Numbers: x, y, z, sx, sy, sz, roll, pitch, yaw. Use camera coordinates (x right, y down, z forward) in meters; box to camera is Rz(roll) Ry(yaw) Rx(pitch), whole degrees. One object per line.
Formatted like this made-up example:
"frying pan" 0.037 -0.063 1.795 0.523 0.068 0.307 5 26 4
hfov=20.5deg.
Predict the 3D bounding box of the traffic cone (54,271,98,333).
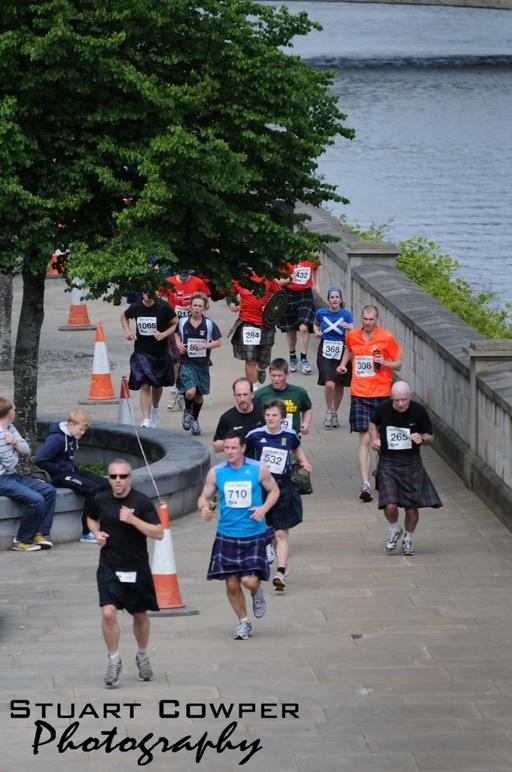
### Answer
"traffic cone" -3.191 -1.423 24.878 0.794 0.821 0.796 12 6 -9

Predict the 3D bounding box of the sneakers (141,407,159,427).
"sneakers" -1.220 0.400 16.347 0.121 0.216 0.334 7 10 -11

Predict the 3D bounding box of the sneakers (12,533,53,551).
"sneakers" -1.799 1.274 11.427 0.349 0.142 0.121 -2 1 1

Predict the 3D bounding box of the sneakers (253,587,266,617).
"sneakers" 0.037 1.460 9.462 0.082 0.218 0.099 -4 -6 12

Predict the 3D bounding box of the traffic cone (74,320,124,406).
"traffic cone" -2.040 -0.257 18.478 0.784 0.953 0.687 -1 6 -15

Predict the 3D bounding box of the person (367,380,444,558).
"person" 1.247 0.668 11.585 0.567 1.396 0.612 1 8 -1

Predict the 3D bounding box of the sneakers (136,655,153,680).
"sneakers" -0.641 1.621 8.169 0.072 0.176 0.080 -10 -1 -3

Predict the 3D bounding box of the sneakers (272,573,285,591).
"sneakers" 0.178 1.425 10.245 0.065 0.151 0.072 0 50 5

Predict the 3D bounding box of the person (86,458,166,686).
"person" -0.762 1.076 8.220 0.426 1.273 0.673 1 8 -7

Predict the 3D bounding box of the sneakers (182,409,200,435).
"sneakers" -0.755 0.413 16.392 0.129 0.157 0.356 -15 50 -26

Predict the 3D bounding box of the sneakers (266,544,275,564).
"sneakers" 0.128 1.303 10.977 0.084 0.093 0.235 0 -1 2

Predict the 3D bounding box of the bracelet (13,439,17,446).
"bracelet" -1.948 0.468 11.420 0.041 0.053 0.015 4 2 22

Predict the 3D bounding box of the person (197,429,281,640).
"person" -0.107 0.949 9.317 0.499 1.352 0.785 2 8 0

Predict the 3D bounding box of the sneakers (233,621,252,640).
"sneakers" -0.071 1.563 9.131 0.105 0.132 0.244 2 8 4

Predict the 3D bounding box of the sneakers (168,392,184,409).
"sneakers" -1.025 0.243 18.163 0.122 0.223 0.340 0 -6 3

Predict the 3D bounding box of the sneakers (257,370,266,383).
"sneakers" 0.098 -0.091 18.102 0.064 0.171 0.076 -5 23 -1

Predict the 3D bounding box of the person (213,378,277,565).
"person" -0.012 0.693 11.232 0.580 1.463 0.476 -4 16 5

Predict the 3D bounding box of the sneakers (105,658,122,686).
"sneakers" -0.811 1.633 8.011 0.083 0.152 0.117 2 8 1

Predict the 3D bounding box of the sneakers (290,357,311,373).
"sneakers" 0.645 -0.253 20.337 0.150 0.164 0.393 0 -1 -23

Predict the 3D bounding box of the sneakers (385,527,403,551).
"sneakers" 1.156 1.269 11.596 0.067 0.188 0.094 14 -23 35

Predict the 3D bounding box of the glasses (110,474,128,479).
"glasses" -0.787 0.530 8.144 0.100 0.038 0.054 0 8 -7
